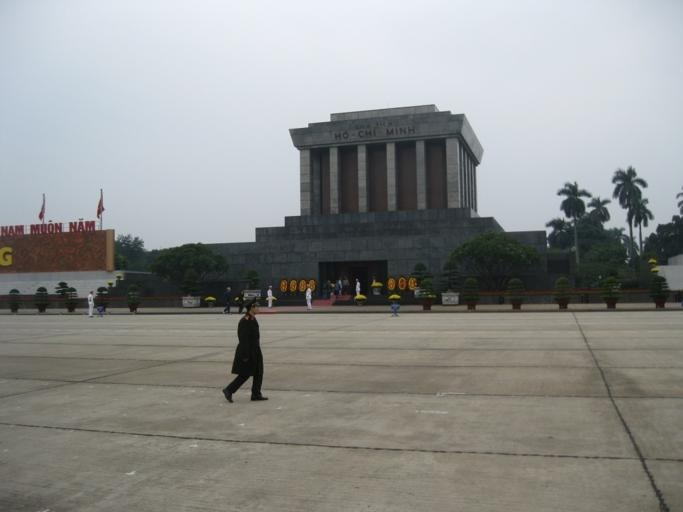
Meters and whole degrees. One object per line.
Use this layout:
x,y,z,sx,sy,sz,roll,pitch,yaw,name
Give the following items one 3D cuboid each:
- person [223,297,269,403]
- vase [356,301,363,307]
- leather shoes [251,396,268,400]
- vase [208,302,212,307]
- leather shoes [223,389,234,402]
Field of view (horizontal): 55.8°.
-1.922,1.819,12.874,0.813,1.899,1.241,0,0,-10,person
1.433,3.637,50.997,0.535,0.430,1.002,0,0,-1,vase
-1.591,2.741,12.457,0.299,0.122,0.103,-1,-9,0,leather shoes
-11.103,4.013,54.497,0.357,0.524,0.355,1,-7,-17,vase
-2.168,2.682,12.314,0.151,0.342,0.122,-9,0,3,leather shoes
